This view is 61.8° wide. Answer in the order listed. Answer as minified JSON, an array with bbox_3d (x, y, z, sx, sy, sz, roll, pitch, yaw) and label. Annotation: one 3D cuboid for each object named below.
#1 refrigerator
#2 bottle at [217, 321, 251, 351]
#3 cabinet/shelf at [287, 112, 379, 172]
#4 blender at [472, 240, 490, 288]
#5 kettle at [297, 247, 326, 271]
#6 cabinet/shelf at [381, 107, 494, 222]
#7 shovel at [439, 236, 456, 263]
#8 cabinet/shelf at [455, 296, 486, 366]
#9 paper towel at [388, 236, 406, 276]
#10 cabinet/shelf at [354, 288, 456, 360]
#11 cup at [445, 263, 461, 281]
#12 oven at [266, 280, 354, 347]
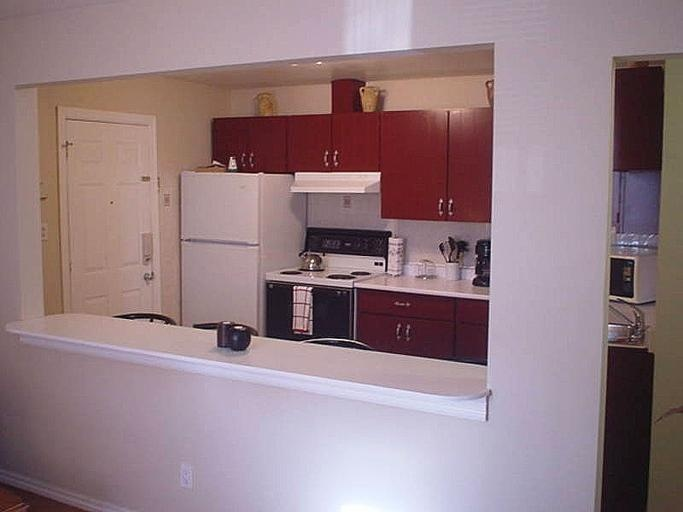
[{"bbox_3d":[-0.891,-0.040,5.302,1.121,1.444,0.650,-1,8,-17],"label":"refrigerator"},{"bbox_3d":[-0.552,0.416,2.976,0.169,0.130,0.168,1,8,0],"label":"bottle"},{"bbox_3d":[-0.076,-1.083,5.280,0.826,0.545,0.288,-1,25,-1],"label":"cabinet/shelf"},{"bbox_3d":[1.183,0.054,4.779,0.126,0.375,0.216,4,8,17],"label":"blender"},{"bbox_3d":[-0.271,0.056,5.498,0.147,0.173,0.236,-2,-4,29],"label":"kettle"},{"bbox_3d":[0.820,-0.787,4.982,0.958,0.934,0.458,2,7,7],"label":"cabinet/shelf"},{"bbox_3d":[0.957,-0.058,5.082,0.127,0.240,0.055,-9,-1,3],"label":"shovel"},{"bbox_3d":[1.018,0.582,4.452,0.247,0.479,0.194,3,8,12],"label":"cabinet/shelf"},{"bbox_3d":[0.523,-0.001,5.267,0.168,0.340,0.171,1,8,0],"label":"paper towel"},{"bbox_3d":[0.584,0.538,4.936,0.862,0.619,0.505,3,13,12],"label":"cabinet/shelf"},{"bbox_3d":[1.003,0.124,5.075,0.138,0.157,0.152,3,8,10],"label":"cup"},{"bbox_3d":[-0.278,0.443,5.162,0.812,0.627,0.507,3,18,1],"label":"oven"}]
